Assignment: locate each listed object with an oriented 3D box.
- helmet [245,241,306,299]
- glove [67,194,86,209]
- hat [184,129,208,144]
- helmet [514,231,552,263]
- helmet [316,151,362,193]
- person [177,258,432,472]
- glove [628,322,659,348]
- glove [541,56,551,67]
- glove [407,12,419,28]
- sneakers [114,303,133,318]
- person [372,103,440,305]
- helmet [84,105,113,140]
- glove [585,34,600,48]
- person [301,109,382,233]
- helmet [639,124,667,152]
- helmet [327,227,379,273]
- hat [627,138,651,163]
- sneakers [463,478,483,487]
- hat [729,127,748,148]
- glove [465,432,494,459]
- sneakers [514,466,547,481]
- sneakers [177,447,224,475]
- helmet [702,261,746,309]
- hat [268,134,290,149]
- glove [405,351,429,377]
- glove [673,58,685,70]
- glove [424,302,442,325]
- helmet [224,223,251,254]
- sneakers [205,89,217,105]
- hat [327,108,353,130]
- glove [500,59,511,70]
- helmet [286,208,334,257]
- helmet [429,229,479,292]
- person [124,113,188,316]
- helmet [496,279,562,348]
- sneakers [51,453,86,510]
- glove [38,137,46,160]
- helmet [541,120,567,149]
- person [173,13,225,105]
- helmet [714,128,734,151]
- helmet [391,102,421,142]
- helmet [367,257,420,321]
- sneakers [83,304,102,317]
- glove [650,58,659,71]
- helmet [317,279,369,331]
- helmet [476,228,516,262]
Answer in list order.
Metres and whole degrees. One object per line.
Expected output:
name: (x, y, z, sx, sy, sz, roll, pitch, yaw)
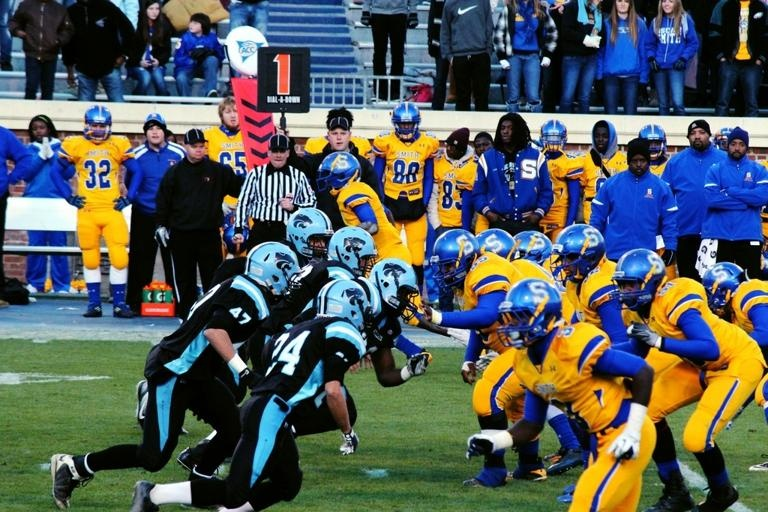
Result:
helmet: (-0.969, 0.106, 12.495, 0.493, 0.421, 0.369, -9, 17, -11)
glove: (-3.746, -0.649, 17.416, 0.204, 0.168, 0.173, -1, 4, -19)
hat: (-2.193, -1.372, 16.508, 0.160, 0.132, 0.226, -5, 5, -30)
helmet: (1.519, -0.085, 14.286, 0.351, 0.293, 0.269, 8, -4, -4)
helmet: (-0.475, -0.895, 15.378, 0.446, 0.390, 0.358, 5, 12, 4)
person: (-0.665, 1.237, 12.866, 1.828, 1.504, 0.849, -18, 3, -7)
glove: (2.262, 0.689, 12.372, 0.259, 0.171, 0.102, 21, -13, 3)
glove: (2.185, -2.603, 19.167, 0.108, 0.126, 0.125, 5, -13, 8)
glove: (0.404, -3.202, 19.490, 0.145, 0.202, 0.207, 2, 16, 0)
sneakers: (-3.242, 0.700, 17.826, 0.309, 0.136, 0.113, -2, -1, 32)
person: (0.312, -0.523, 17.550, 0.867, 2.660, 0.880, 0, 3, 23)
helmet: (-3.485, -1.589, 17.344, 0.309, 0.352, 0.419, 0, 13, -17)
glove: (2.767, -2.836, 18.897, 0.221, 0.171, 0.115, 1, 4, 2)
person: (-0.630, -0.772, 16.182, 0.869, 1.640, 0.710, 4, 5, -6)
helmet: (3.133, -1.366, 16.562, 0.286, 0.328, 0.406, -1, 2, 3)
helmet: (-0.301, -0.057, 13.518, 0.470, 0.484, 0.367, 1, 10, -7)
hat: (2.824, -1.151, 15.694, 0.193, 0.213, 0.273, 4, 15, 7)
sneakers: (0.809, 2.041, 12.831, 0.162, 0.071, 0.060, 6, -8, 7)
hat: (4.179, -1.383, 16.638, 0.193, 0.236, 0.263, 7, 22, -3)
glove: (0.865, 1.629, 12.108, 0.287, 0.139, 0.211, -12, 13, -23)
sneakers: (1.339, 1.999, 13.081, 0.331, 0.144, 0.122, 4, 5, 9)
sneakers: (-1.631, 1.838, 12.838, 0.574, 0.202, 0.243, 3, -3, 2)
helmet: (3.203, 0.294, 13.640, 0.434, 0.437, 0.335, 15, -6, 4)
hat: (-1.151, -1.247, 15.808, 0.218, 0.183, 0.341, 0, 4, -5)
glove: (0.323, 0.997, 13.089, 0.227, 0.200, 0.170, -15, -15, 22)
glove: (3.960, -2.540, 19.072, 0.138, 0.123, 0.130, -31, 12, 33)
glove: (0.450, 0.537, 12.804, 0.156, 0.189, 0.333, 1, 4, 2)
helmet: (-1.723, -0.190, 16.492, 0.303, 0.340, 0.398, 6, -13, -12)
sneakers: (-2.375, -2.211, 19.817, 0.093, 0.108, 0.274, 3, -33, -7)
hat: (-0.504, -1.576, 16.576, 0.408, 0.195, 0.657, 0, 3, 2)
glove: (1.595, -2.509, 18.854, 0.124, 0.034, 0.124, 5, 22, -21)
helmet: (-0.763, -0.206, 13.480, 0.465, 0.430, 0.355, 7, 7, 22)
helmet: (0.666, 0.051, 13.255, 0.518, 0.521, 0.440, -21, 13, 1)
person: (-2.864, -0.475, 17.718, 1.123, 2.445, 0.814, -11, 29, -32)
helmet: (1.178, 0.475, 11.950, 0.585, 0.502, 0.429, -25, -1, -17)
sneakers: (-2.689, 1.941, 12.254, 0.291, 0.452, 0.189, -1, 4, -23)
glove: (-4.419, -1.398, 18.603, 0.114, 0.274, 0.119, 3, 4, 29)
helmet: (2.010, -1.407, 16.784, 0.262, 0.299, 0.344, 0, 9, 2)
person: (-2.572, -2.766, 19.767, 0.687, 1.200, 1.143, 0, 34, -10)
helmet: (4.159, -1.414, 17.415, 0.215, 0.295, 0.160, 3, 0, -5)
helmet: (0.276, -1.648, 17.426, 0.357, 0.391, 0.455, -1, 30, -2)
helmet: (0.134, 0.296, 12.889, 0.538, 0.513, 0.402, 22, -5, -6)
sneakers: (-3.627, 0.704, 17.861, 0.095, 0.122, 0.288, -1, -6, 17)
glove: (3.626, -2.560, 19.154, 0.064, 0.158, 0.114, -23, 1, 0)
helmet: (-0.327, 0.414, 12.054, 0.445, 0.398, 0.349, 1, 10, -35)
helmet: (1.094, -0.065, 13.688, 0.344, 0.303, 0.259, 12, 15, -2)
